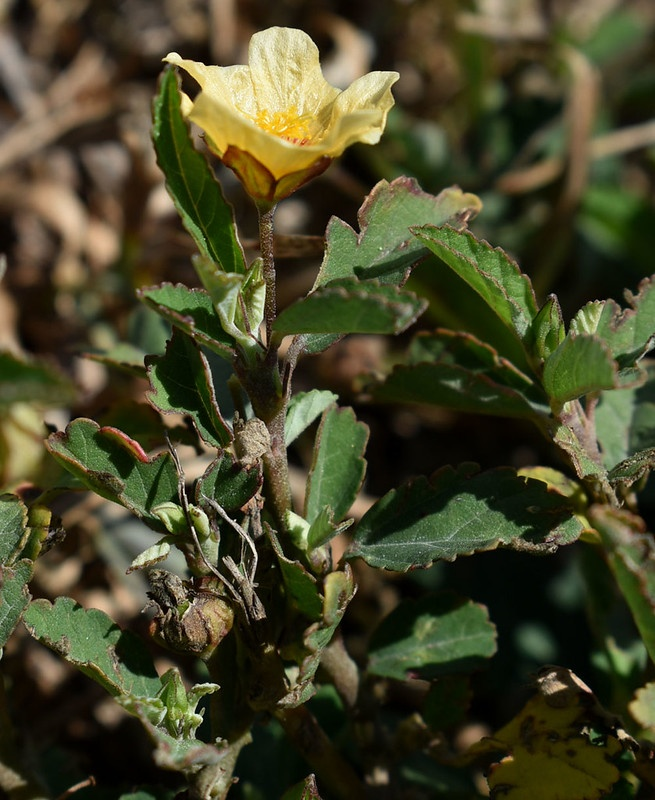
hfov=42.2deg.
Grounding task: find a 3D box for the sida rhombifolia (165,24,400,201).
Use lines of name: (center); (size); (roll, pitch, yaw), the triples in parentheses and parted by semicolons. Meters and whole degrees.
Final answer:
sida rhombifolia: (-0.040, -0.188, 0.649); (0.164, 0.082, 0.160); (-6, 14, -41)
